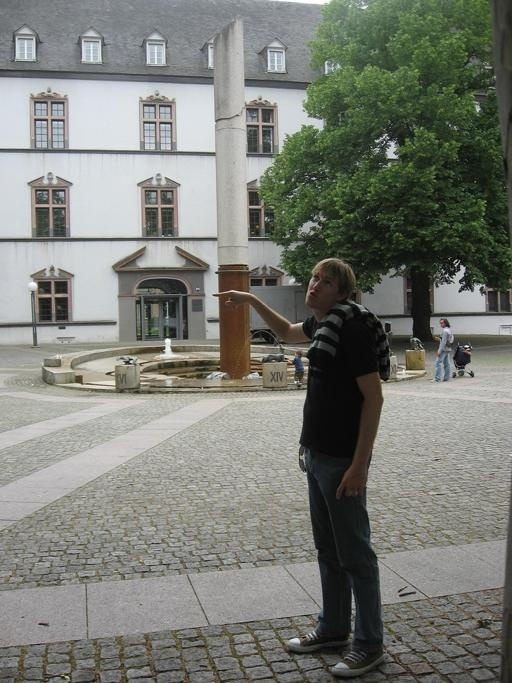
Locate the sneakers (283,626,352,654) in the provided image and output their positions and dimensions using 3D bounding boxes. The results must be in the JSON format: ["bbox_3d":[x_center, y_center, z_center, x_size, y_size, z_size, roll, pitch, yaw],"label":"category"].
[{"bbox_3d":[0.268,1.330,3.196,0.305,0.112,0.099,2,-17,1],"label":"sneakers"}]

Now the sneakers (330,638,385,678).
[{"bbox_3d":[0.447,1.337,3.058,0.274,0.107,0.091,0,-6,-43],"label":"sneakers"}]

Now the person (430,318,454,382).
[{"bbox_3d":[4.299,0.206,16.533,0.398,1.444,2.525,-1,3,15],"label":"person"}]

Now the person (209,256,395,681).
[{"bbox_3d":[0.317,0.515,3.159,0.411,1.750,0.721,-4,3,-24],"label":"person"}]

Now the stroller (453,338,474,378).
[{"bbox_3d":[5.514,0.485,19.125,0.762,1.175,0.909,-2,3,9],"label":"stroller"}]
